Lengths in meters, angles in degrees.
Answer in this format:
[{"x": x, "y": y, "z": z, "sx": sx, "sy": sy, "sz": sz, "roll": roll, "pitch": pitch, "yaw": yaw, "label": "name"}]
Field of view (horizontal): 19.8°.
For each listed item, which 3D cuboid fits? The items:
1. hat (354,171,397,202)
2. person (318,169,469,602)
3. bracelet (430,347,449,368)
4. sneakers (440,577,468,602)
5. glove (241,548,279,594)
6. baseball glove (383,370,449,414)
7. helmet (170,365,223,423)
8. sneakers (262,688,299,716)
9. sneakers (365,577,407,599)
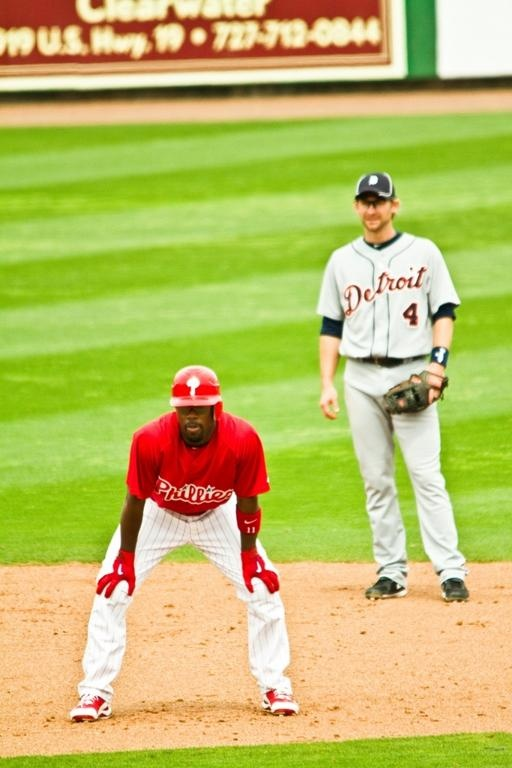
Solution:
[{"x": 0.525, "y": -0.880, "z": 6.467, "sx": 0.124, "sy": 0.099, "sz": 0.178, "roll": 0, "pitch": -4, "yaw": 14, "label": "hat"}, {"x": 0.597, "y": 0.031, "z": 6.558, "sx": 0.698, "sy": 1.918, "sz": 0.585, "roll": 0, "pitch": 14, "yaw": 11, "label": "person"}, {"x": 0.824, "y": -0.115, "z": 6.468, "sx": 0.093, "sy": 0.090, "sz": 0.085, "roll": 9, "pitch": -6, "yaw": -13, "label": "bracelet"}, {"x": 0.873, "y": 0.904, "z": 6.481, "sx": 0.118, "sy": 0.104, "sz": 0.105, "roll": -1, "pitch": 13, "yaw": 5, "label": "sneakers"}, {"x": 0.000, "y": 0.676, "z": 5.324, "sx": 0.121, "sy": 0.164, "sz": 0.046, "roll": -32, "pitch": -13, "yaw": -24, "label": "glove"}, {"x": 0.670, "y": 0.044, "z": 6.368, "sx": 0.265, "sy": 0.153, "sz": 0.104, "roll": -24, "pitch": 22, "yaw": -8, "label": "baseball glove"}, {"x": -0.215, "y": 0.020, "z": 5.158, "sx": 0.144, "sy": 0.150, "sz": 0.193, "roll": 0, "pitch": -4, "yaw": 5, "label": "helmet"}, {"x": 0.085, "y": 1.159, "z": 5.372, "sx": 0.061, "sy": 0.070, "sz": 0.156, "roll": 2, "pitch": 7, "yaw": -15, "label": "sneakers"}, {"x": 0.586, "y": 0.919, "z": 6.611, "sx": 0.182, "sy": 0.080, "sz": 0.081, "roll": 1, "pitch": 2, "yaw": -19, "label": "sneakers"}]
